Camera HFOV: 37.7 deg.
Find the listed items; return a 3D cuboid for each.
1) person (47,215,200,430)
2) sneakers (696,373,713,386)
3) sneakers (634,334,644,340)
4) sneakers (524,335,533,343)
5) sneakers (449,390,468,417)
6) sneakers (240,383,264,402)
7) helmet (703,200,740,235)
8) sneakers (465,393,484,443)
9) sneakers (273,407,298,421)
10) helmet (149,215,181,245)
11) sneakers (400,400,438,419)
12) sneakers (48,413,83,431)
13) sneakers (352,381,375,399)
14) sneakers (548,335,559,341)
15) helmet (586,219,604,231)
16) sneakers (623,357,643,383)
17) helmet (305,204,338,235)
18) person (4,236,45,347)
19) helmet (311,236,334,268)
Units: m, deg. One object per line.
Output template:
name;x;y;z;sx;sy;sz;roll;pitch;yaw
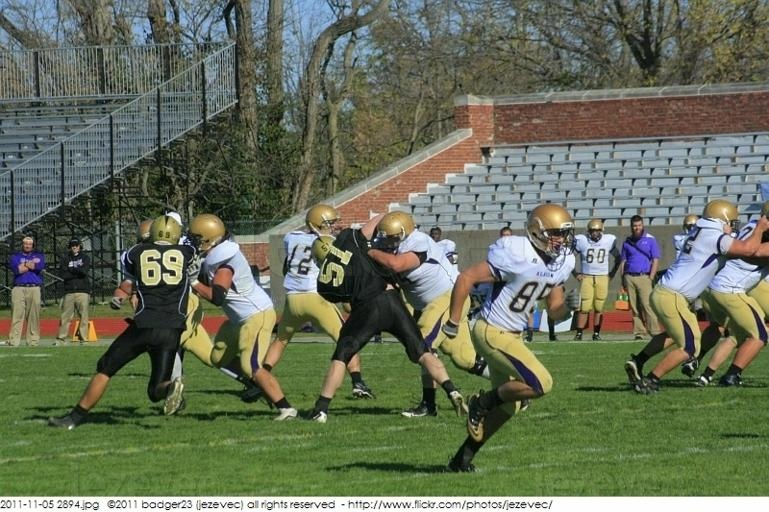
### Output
person;-3.506;1.029;16.011;1.552;2.418;0.364;0;4;-10
sneakers;5.096;1.955;17.977;0.333;0.142;0.118;-7;21;-40
sneakers;5.283;1.663;23.362;0.130;0.106;0.122;-15;4;17
sneakers;3.003;1.707;23.475;0.189;0.174;0.128;4;-7;11
sneakers;1.053;2.079;16.099;0.174;0.436;0.200;-23;6;-22
sneakers;-2.005;2.041;16.942;0.241;0.132;0.388;32;-31;-31
helmet;5.303;-0.619;17.708;0.667;0.563;0.481;1;12;-17
sneakers;1.160;2.059;14.364;0.205;0.548;0.261;-5;2;-25
sneakers;-1.452;2.289;16.457;0.336;0.138;0.166;-6;-1;-3
helmet;-3.154;-0.363;16.190;0.365;0.373;0.460;1;31;-13
sneakers;0.534;2.254;16.688;0.623;0.240;0.201;2;-4;-4
sneakers;-4.542;2.331;16.029;0.473;0.216;0.227;1;4;14
sneakers;-0.345;2.068;17.229;0.164;0.213;0.420;-32;-42;31
sneakers;3.554;1.721;23.731;0.141;0.096;0.141;3;5;14
helmet;4.301;-0.655;22.917;0.287;0.272;0.341;-4;-6;-13
sneakers;3.884;1.762;17.628;0.243;0.485;0.198;-35;18;-36
helmet;-0.969;-0.588;17.350;0.409;0.495;0.374;44;4;-11
person;-7.682;0.736;24.026;0.707;2.298;0.852;-1;4;-18
helmet;-0.922;-0.096;16.533;0.434;0.422;0.333;11;9;-13
